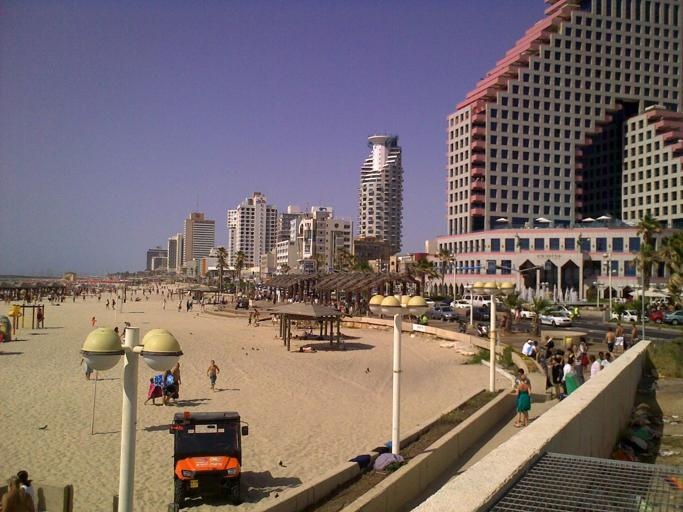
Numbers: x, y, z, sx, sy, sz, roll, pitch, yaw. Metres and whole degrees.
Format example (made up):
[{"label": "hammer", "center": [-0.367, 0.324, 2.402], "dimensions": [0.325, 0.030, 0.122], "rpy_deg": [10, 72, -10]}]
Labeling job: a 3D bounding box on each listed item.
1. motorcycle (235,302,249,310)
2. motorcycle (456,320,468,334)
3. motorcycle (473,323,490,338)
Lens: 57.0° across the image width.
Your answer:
[{"label": "motorcycle", "center": [-12.914, 6.562, 82.969], "dimensions": [1.591, 0.970, 1.032], "rpy_deg": [2, -5, -21]}, {"label": "motorcycle", "center": [9.481, 5.441, 48.005], "dimensions": [0.515, 0.685, 1.120], "rpy_deg": [-1, -5, -2]}, {"label": "motorcycle", "center": [9.828, 5.213, 43.435], "dimensions": [0.813, 0.509, 1.088], "rpy_deg": [1, -3, -24]}]
